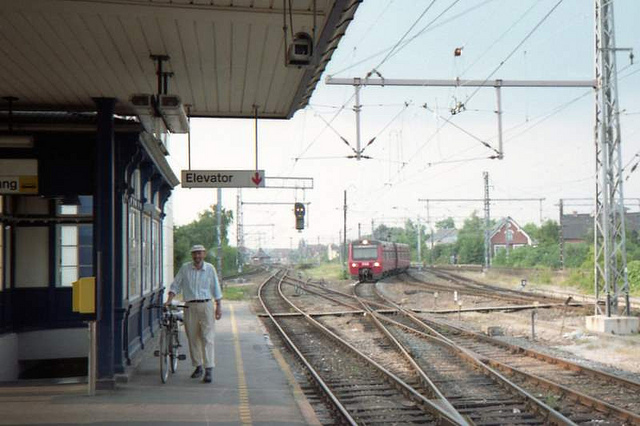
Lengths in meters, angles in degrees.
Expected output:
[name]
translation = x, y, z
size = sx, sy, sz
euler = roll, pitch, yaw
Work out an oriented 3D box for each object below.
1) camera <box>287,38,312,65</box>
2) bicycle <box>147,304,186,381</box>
[camera]
translation = -0.415, -2.841, 12.791
size = 0.484, 0.486, 0.362
euler = -6, 15, -40
[bicycle]
translation = -3.106, 2.647, 15.078
size = 0.909, 1.429, 2.388
euler = -4, 2, -6
